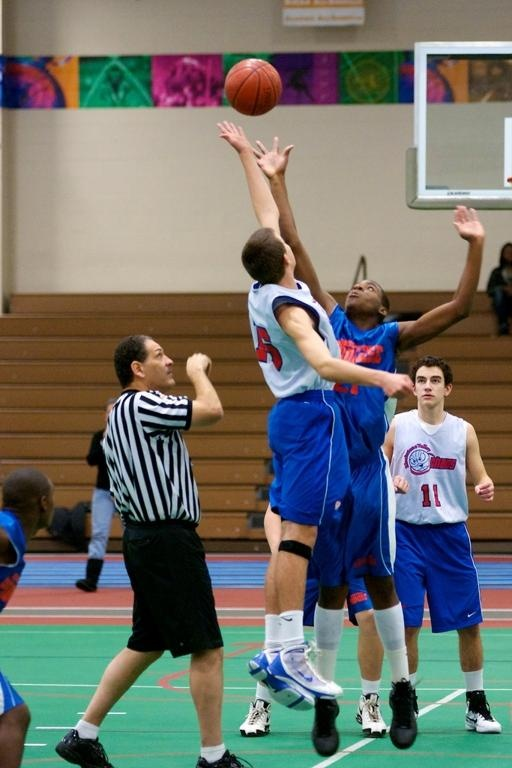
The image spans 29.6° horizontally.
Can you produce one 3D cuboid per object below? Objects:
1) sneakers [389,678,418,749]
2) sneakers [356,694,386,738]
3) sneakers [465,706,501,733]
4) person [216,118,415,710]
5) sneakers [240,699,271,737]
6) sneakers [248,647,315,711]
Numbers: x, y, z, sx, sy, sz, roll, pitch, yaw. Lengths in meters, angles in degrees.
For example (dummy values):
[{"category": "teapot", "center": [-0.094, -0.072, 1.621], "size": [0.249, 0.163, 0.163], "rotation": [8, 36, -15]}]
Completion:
[{"category": "sneakers", "center": [0.636, 1.449, 4.236], "size": [0.115, 0.300, 0.128], "rotation": [-3, -30, 8]}, {"category": "sneakers", "center": [0.522, 1.544, 4.498], "size": [0.090, 0.112, 0.236], "rotation": [3, 24, -1]}, {"category": "sneakers", "center": [1.058, 1.579, 4.505], "size": [0.074, 0.079, 0.187], "rotation": [7, -16, -19]}, {"category": "person", "center": [0.189, -0.045, 3.878], "size": [0.509, 2.374, 1.572], "rotation": [0, -3, -6]}, {"category": "sneakers", "center": [0.000, 1.581, 4.538], "size": [0.085, 0.099, 0.234], "rotation": [2, -8, 10]}, {"category": "sneakers", "center": [0.087, 1.099, 3.548], "size": [0.234, 0.224, 0.218], "rotation": [0, -3, -3]}]
